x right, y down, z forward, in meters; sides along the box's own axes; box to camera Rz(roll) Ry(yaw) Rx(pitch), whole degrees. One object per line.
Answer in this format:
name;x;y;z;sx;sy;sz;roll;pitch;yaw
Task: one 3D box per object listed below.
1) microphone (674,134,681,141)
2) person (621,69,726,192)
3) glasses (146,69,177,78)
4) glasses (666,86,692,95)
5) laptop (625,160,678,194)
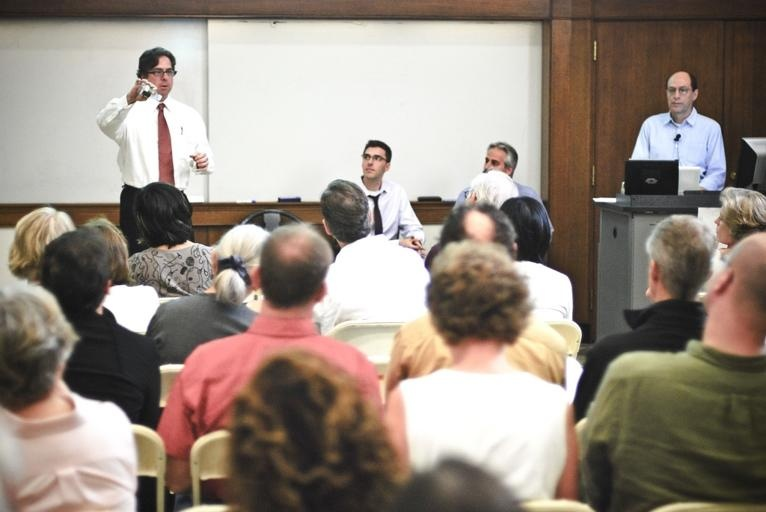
microphone;2.505;-1.007;6.235;0.065;0.057;0.027;-5;11;-19
person;2.474;-0.992;6.210;0.777;1.317;0.720;8;-11;3
glasses;-1.650;-1.366;5.451;0.195;0.060;0.072;-6;13;-21
glasses;2.456;-1.366;6.059;0.209;0.103;0.115;5;13;25
laptop;1.770;-0.563;4.841;0.309;0.260;0.248;4;33;23
